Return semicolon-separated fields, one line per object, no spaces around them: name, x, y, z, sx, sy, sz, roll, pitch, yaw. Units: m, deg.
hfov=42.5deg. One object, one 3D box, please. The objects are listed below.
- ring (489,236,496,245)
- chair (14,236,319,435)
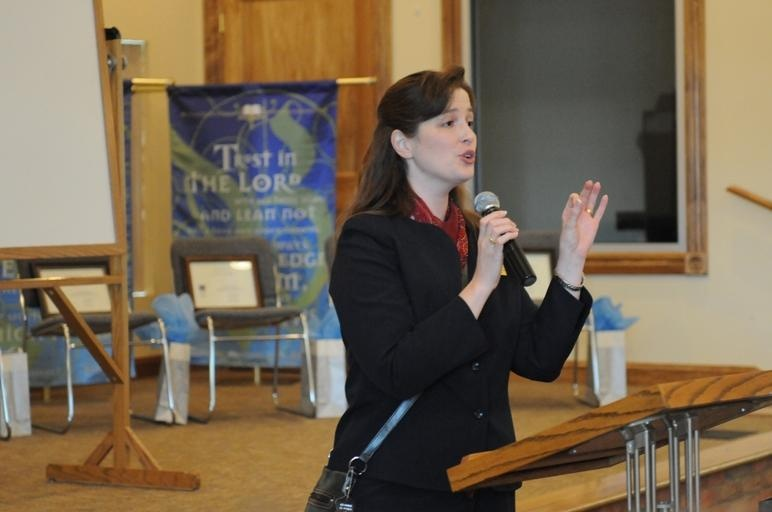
ring;0.409;-0.062;3.820;0.024;0.026;0.008;3;-17;8
chair;-1.289;0.466;6.386;1.625;1.116;0.560;-3;13;-5
